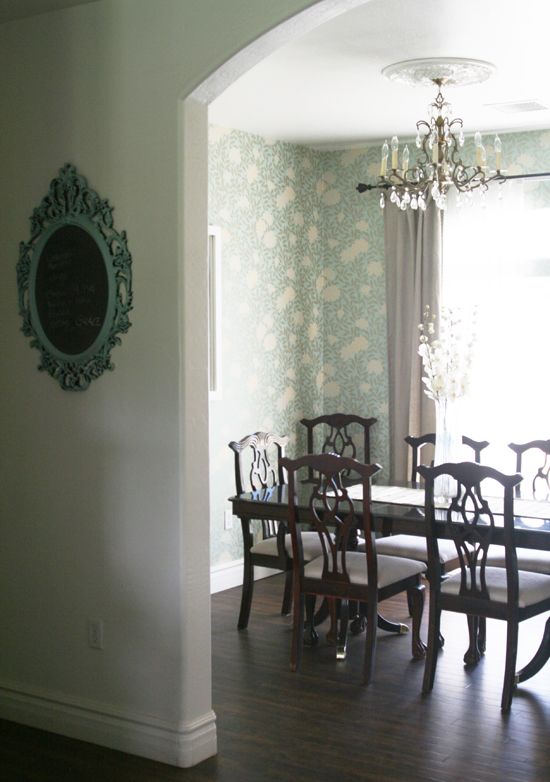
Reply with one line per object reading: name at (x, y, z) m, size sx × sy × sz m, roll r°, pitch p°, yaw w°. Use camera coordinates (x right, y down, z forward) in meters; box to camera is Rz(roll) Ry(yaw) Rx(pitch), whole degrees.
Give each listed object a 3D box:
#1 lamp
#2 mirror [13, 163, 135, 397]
lamp at (0.854, -1.311, 3.648) m, size 0.644 × 0.663 × 0.559 m, roll 3°, pitch 20°, yaw 22°
mirror at (-0.659, -0.387, 2.383) m, size 0.652 × 0.976 × 0.037 m, roll 8°, pitch 9°, yaw 40°
